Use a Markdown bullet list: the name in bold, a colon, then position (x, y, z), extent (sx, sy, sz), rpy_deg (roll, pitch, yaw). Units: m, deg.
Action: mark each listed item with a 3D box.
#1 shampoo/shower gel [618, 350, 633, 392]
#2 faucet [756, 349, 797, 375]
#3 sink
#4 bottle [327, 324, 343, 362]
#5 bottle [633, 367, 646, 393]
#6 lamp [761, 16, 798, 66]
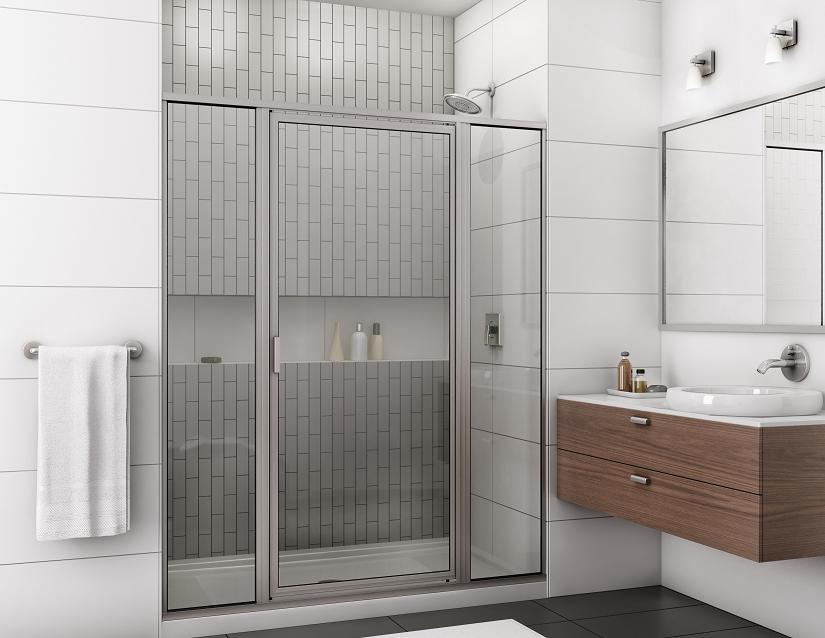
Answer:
- **shampoo/shower gel**: position (1.057, 0.260, 3.468), extent (0.074, 0.209, 0.250), rpy_deg (3, -7, 17)
- **faucet**: position (1.535, 0.180, 2.967), extent (0.157, 0.092, 0.093), rpy_deg (-3, 2, -27)
- **sink**: position (1.359, 0.334, 2.867), extent (0.503, 0.151, 0.516), rpy_deg (11, -9, -40)
- **bottle**: position (-0.340, 0.108, 3.275), extent (0.072, 0.178, 0.015), rpy_deg (8, -7, -30)
- **bottle**: position (1.103, 0.297, 3.358), extent (0.054, 0.114, 0.110), rpy_deg (0, -8, 36)
- **lamp**: position (1.567, -1.170, 2.975), extent (0.119, 0.221, 0.140), rpy_deg (1, -7, 28)
